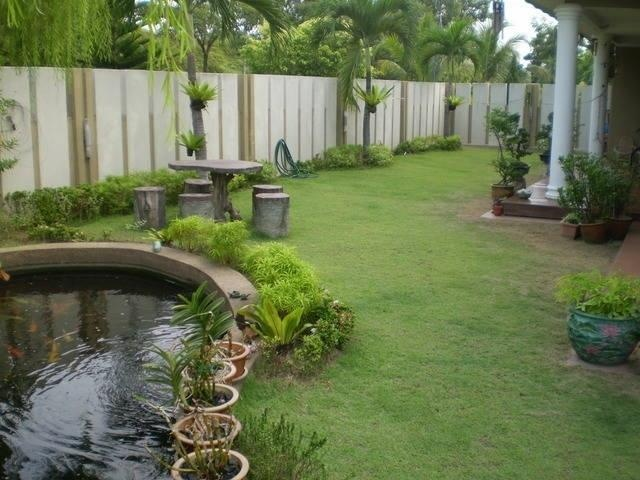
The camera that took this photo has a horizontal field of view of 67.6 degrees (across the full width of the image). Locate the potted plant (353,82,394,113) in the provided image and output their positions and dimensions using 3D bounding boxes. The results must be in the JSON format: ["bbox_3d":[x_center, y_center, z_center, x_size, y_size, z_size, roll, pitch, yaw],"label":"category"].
[{"bbox_3d":[1.739,-4.862,15.698,1.283,1.072,1.346,0,1,7],"label":"potted plant"}]

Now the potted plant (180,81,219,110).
[{"bbox_3d":[-2.510,-3.059,9.997,0.531,0.587,0.890,-3,10,-12],"label":"potted plant"}]

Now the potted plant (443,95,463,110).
[{"bbox_3d":[5.931,-6.128,21.307,0.680,0.528,0.711,0,14,5],"label":"potted plant"}]

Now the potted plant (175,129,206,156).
[{"bbox_3d":[-2.849,-2.101,10.297,0.623,0.580,0.648,9,18,25],"label":"potted plant"}]

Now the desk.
[{"bbox_3d":[-1.747,-1.023,8.243,1.390,0.974,1.121,9,16,25],"label":"desk"}]
